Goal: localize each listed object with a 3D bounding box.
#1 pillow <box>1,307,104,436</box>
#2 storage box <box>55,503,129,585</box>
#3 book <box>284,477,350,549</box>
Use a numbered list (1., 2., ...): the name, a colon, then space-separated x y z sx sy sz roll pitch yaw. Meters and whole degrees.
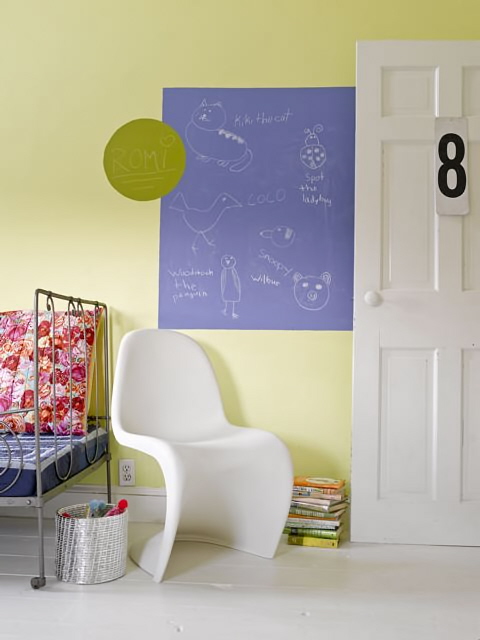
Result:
1. pillow: -0.739 0.217 2.301 0.439 0.466 0.139 0 -10 6
2. storage box: -0.504 0.695 1.910 0.219 0.206 0.218 1 -1 13
3. book: 0.291 0.742 2.231 0.229 0.253 0.118 6 -11 9
